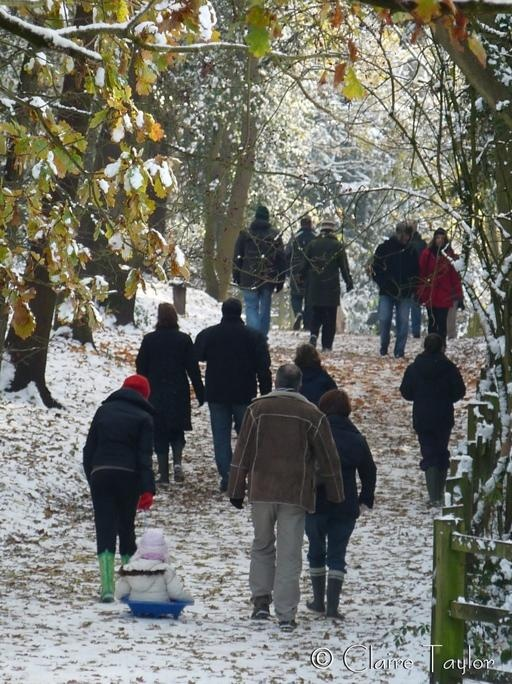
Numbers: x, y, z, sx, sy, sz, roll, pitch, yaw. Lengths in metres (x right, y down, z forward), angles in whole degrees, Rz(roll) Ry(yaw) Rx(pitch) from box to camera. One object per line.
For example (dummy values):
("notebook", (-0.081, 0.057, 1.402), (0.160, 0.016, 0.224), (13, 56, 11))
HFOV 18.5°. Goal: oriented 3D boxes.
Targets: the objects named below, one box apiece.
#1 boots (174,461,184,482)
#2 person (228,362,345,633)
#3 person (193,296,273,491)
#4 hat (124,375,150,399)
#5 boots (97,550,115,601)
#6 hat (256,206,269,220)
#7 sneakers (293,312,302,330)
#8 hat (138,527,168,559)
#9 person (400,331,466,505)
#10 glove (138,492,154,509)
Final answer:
("boots", (-0.728, 1.249, 14.880), (0.057, 0.211, 0.076), (-2, 15, 5))
("person", (0.205, 1.077, 10.981), (0.817, 1.852, 0.532), (1, -5, 6))
("person", (-0.220, 0.355, 14.391), (0.614, 0.591, 2.095), (5, -49, 5))
("hat", (-0.892, 0.334, 11.804), (0.118, 0.145, 0.205), (13, -21, 4))
("boots", (-1.067, 1.686, 11.184), (0.121, 0.353, 0.207), (2, -5, -2))
("hat", (0.068, -1.487, 18.244), (0.111, 0.189, 0.159), (7, 2, 18))
("sneakers", (0.657, -0.281, 24.246), (0.094, 0.296, 0.105), (8, 9, -12))
("hat", (-0.716, 1.401, 10.722), (0.211, 0.211, 0.242), (3, -6, -6))
("person", (1.545, 0.686, 13.809), (0.556, 1.518, 0.414), (1, -5, 9))
("glove", (-0.799, 1.154, 11.306), (0.092, 0.120, 0.370), (2, -6, -3))
